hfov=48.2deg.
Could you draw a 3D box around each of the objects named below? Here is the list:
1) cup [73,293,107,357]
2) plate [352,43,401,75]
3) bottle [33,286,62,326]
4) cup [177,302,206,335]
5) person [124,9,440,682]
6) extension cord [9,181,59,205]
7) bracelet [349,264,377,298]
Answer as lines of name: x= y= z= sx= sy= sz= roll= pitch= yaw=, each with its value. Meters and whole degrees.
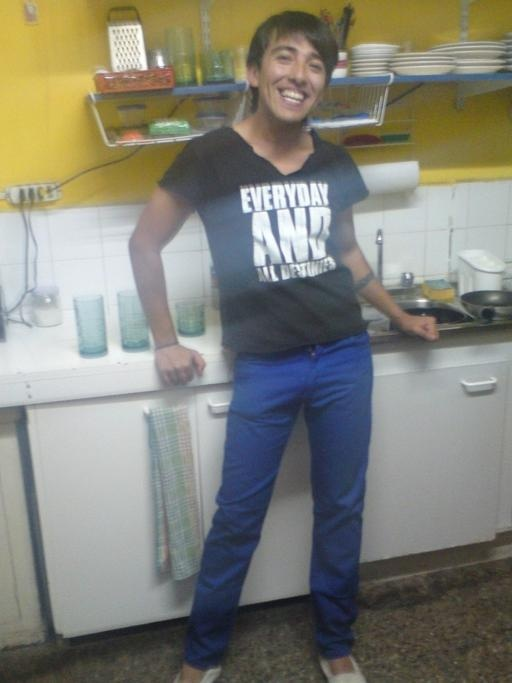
cup: x=-0.349 y=-0.030 z=1.209 sx=0.059 sy=0.125 sz=0.031 roll=-9 pitch=13 yaw=-16
plate: x=0.289 y=-0.689 z=1.423 sx=0.096 sy=0.043 sz=0.092 roll=-1 pitch=23 yaw=0
bottle: x=-0.495 y=-0.083 z=1.367 sx=0.091 sy=0.094 sz=0.086 roll=-2 pitch=8 yaw=-14
cup: x=-0.152 y=-0.057 z=1.377 sx=0.079 sy=0.079 sz=0.076 roll=1 pitch=7 yaw=0
person: x=0.041 y=0.073 z=1.181 sx=0.568 sy=1.330 sz=0.307 roll=-7 pitch=12 yaw=-8
extension cord: x=-0.567 y=-0.370 z=1.445 sx=0.137 sy=0.054 sz=0.027 roll=-5 pitch=12 yaw=-3
bracelet: x=0.242 y=-0.138 z=1.311 sx=0.053 sy=0.041 sz=0.052 roll=-29 pitch=32 yaw=20
